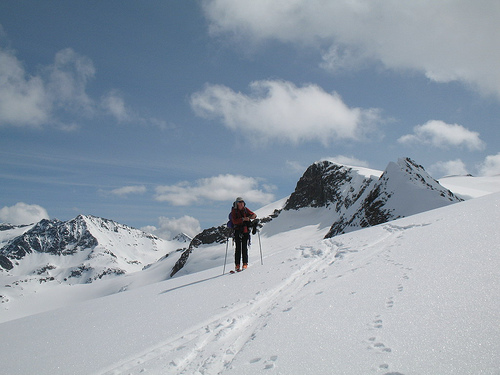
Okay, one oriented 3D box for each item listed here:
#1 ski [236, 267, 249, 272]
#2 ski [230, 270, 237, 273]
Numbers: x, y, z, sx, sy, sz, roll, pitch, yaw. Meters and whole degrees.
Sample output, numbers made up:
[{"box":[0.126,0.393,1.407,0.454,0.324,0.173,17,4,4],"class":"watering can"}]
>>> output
[{"box":[-0.389,3.468,15.915,0.317,0.127,0.098,-12,8,-10],"class":"ski"},{"box":[-0.674,3.517,15.725,0.269,0.025,1.072,-12,-5,-5],"class":"ski"}]
